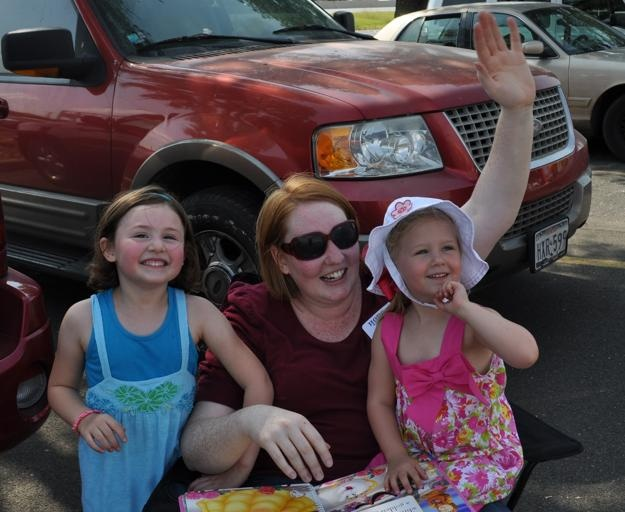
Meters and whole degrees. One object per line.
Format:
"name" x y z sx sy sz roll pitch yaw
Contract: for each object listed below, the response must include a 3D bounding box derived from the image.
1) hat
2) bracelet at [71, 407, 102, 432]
"hat" 0.354 -0.046 1.622 0.306 0.389 0.201 -14 15 2
"bracelet" -0.679 0.482 1.602 0.023 0.085 0.069 42 19 24
